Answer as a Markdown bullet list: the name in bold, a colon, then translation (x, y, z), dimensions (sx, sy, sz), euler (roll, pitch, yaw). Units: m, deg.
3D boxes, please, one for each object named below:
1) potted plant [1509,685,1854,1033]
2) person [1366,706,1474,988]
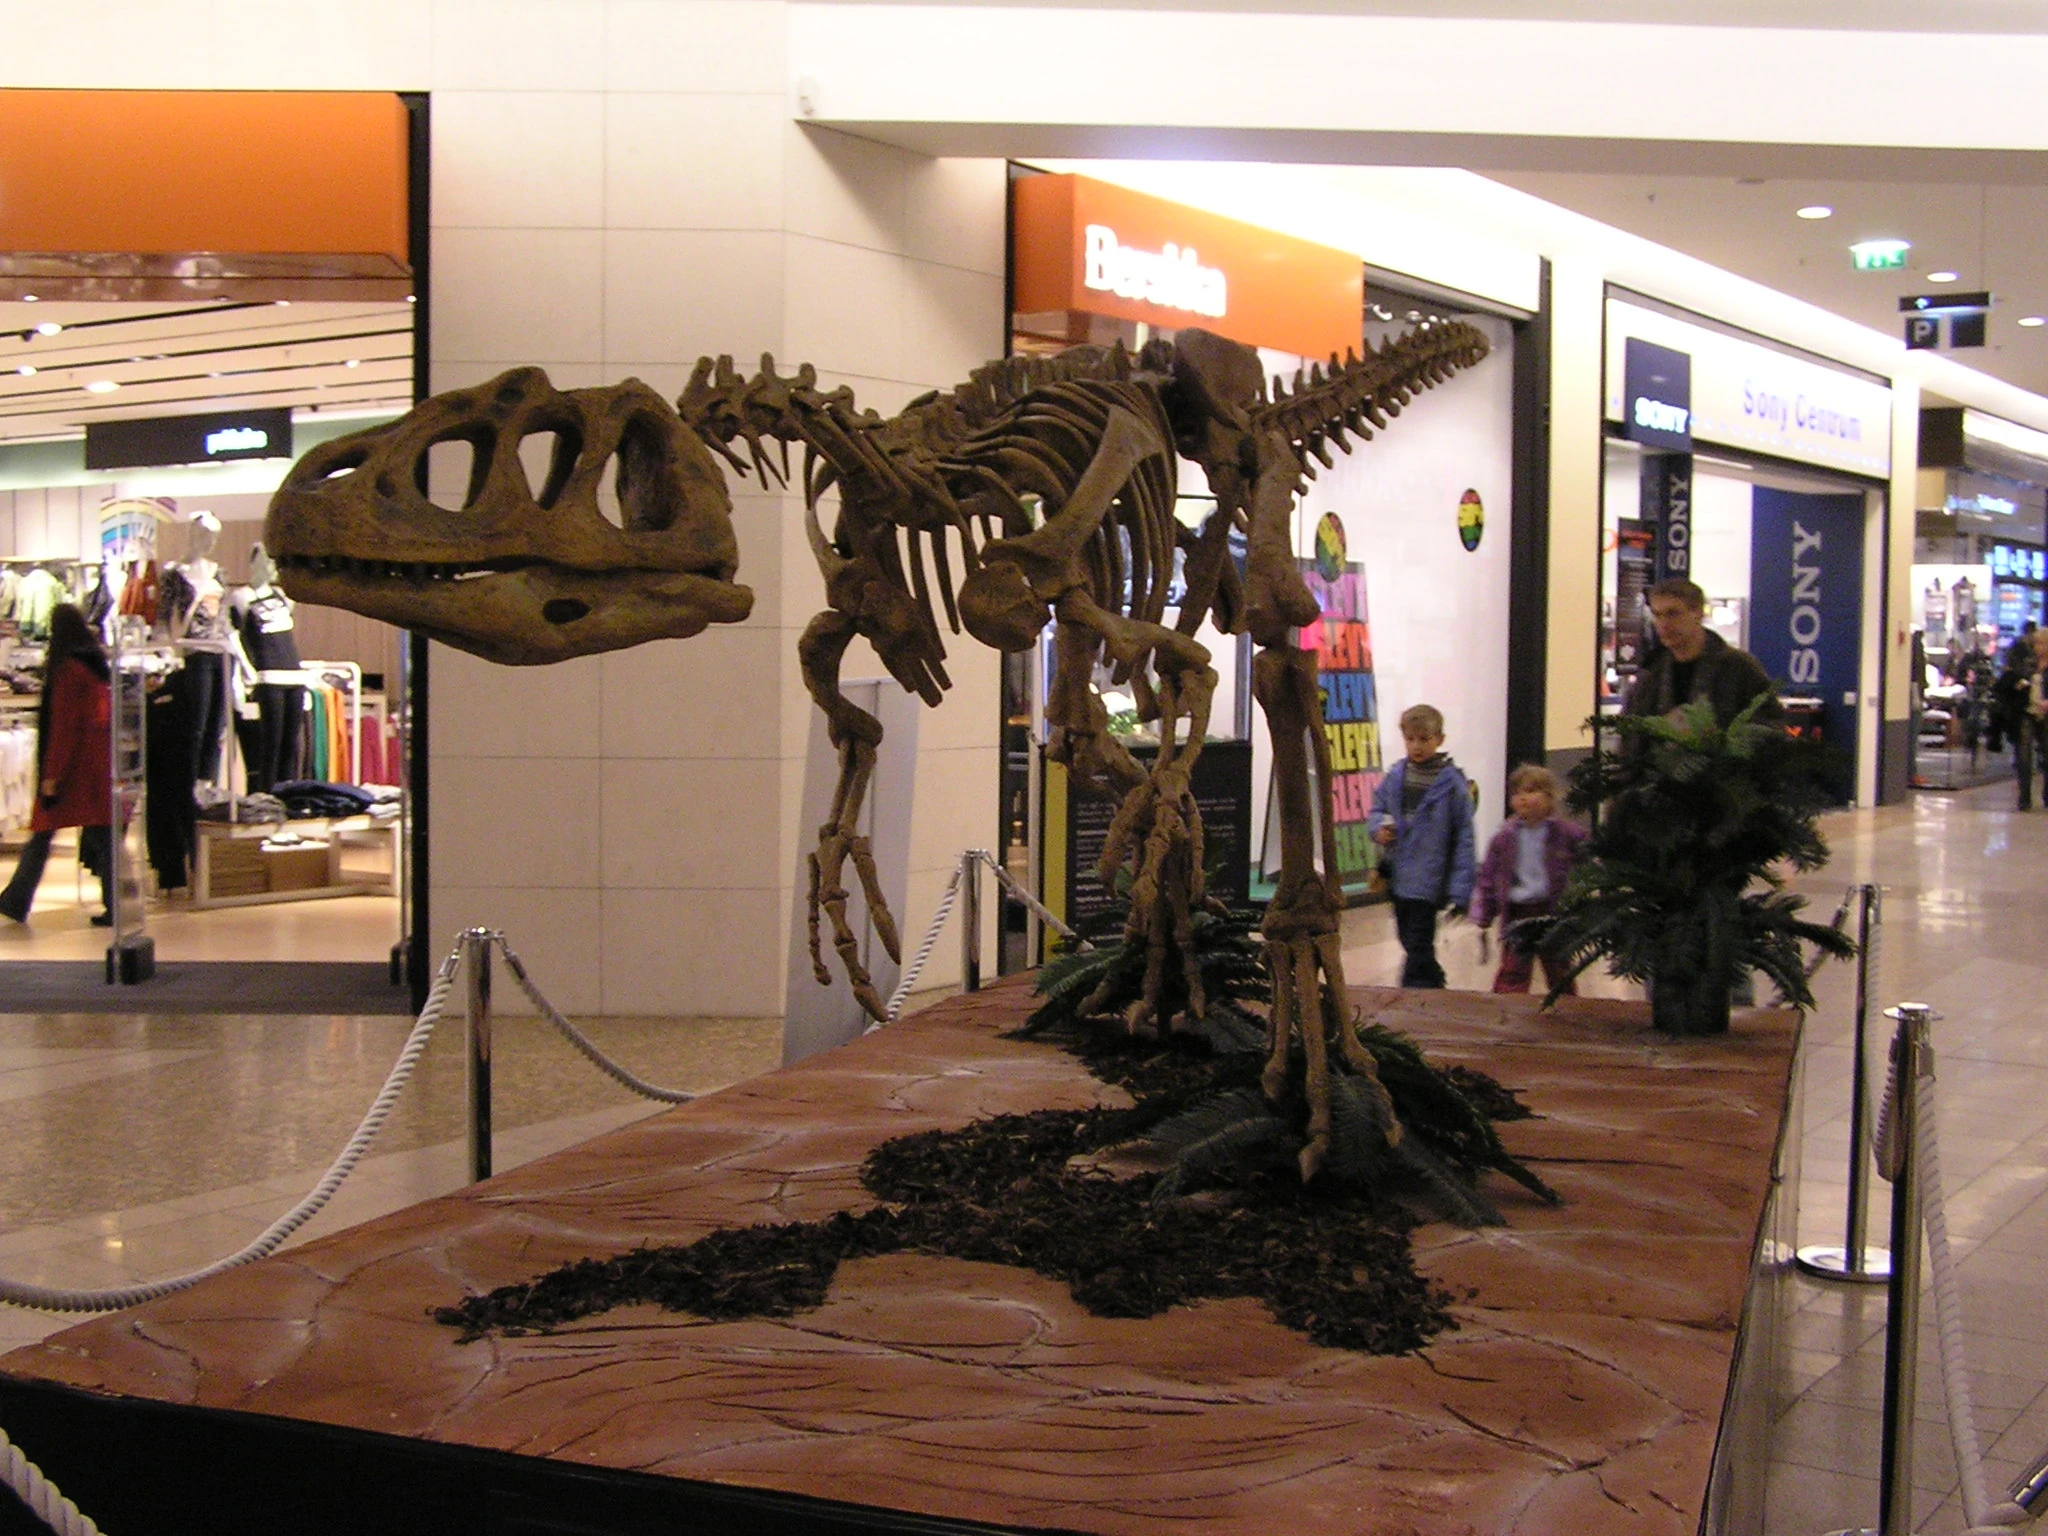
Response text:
- **potted plant**: translation (2.217, 0.358, 5.430), dimensions (0.923, 1.061, 0.876), euler (6, -4, 23)
- **person**: translation (1.597, 0.347, 6.604), dimensions (0.405, 1.193, 0.638), euler (-2, 9, -9)
